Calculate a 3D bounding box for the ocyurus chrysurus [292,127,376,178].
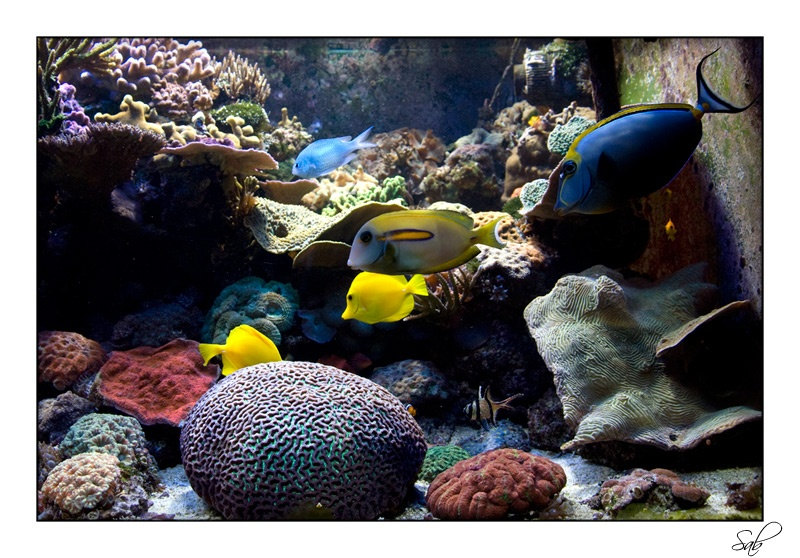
[{"bbox_3d":[-0.676,-1.247,7.602,0.733,0.468,0.281,-1,34,-19],"label":"ocyurus chrysurus"}]
